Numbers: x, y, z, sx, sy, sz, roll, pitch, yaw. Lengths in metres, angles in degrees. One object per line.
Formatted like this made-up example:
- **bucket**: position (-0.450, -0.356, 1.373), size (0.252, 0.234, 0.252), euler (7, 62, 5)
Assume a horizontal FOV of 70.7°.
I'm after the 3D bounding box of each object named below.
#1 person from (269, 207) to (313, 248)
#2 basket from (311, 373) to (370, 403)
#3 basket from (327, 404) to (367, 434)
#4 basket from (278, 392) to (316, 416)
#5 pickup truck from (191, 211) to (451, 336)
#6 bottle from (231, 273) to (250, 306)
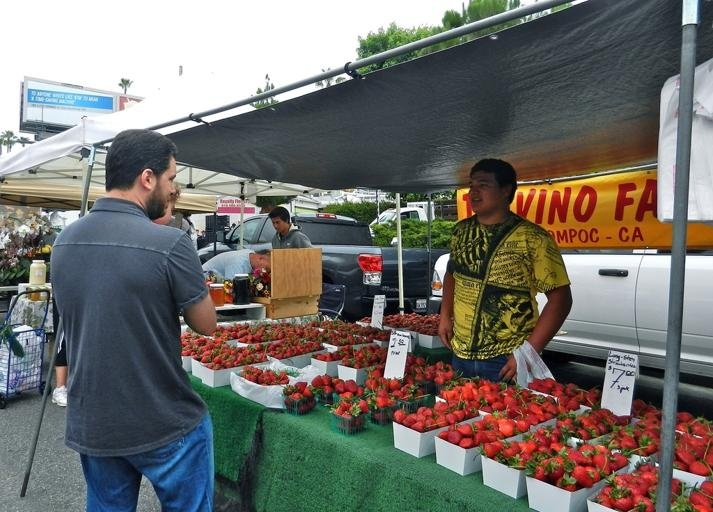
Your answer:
- **person**: position (-0.995, -0.404, 7.417), size (0.566, 0.646, 1.234), euler (1, 4, -12)
- **basket**: position (-0.122, 0.850, 3.089), size (0.232, 0.073, 0.175), euler (6, 1, 36)
- **basket**: position (-0.043, 0.911, 2.733), size (0.132, 0.115, 0.170), euler (1, 1, -28)
- **basket**: position (-0.330, 0.917, 2.984), size (0.128, 0.075, 0.128), euler (2, -5, -36)
- **pickup truck**: position (-0.606, 0.170, 9.297), size (4.331, 1.595, 2.094), euler (6, 5, 43)
- **bottle**: position (-1.183, 0.377, 5.285), size (0.146, 0.299, 0.258), euler (4, 4, 32)
